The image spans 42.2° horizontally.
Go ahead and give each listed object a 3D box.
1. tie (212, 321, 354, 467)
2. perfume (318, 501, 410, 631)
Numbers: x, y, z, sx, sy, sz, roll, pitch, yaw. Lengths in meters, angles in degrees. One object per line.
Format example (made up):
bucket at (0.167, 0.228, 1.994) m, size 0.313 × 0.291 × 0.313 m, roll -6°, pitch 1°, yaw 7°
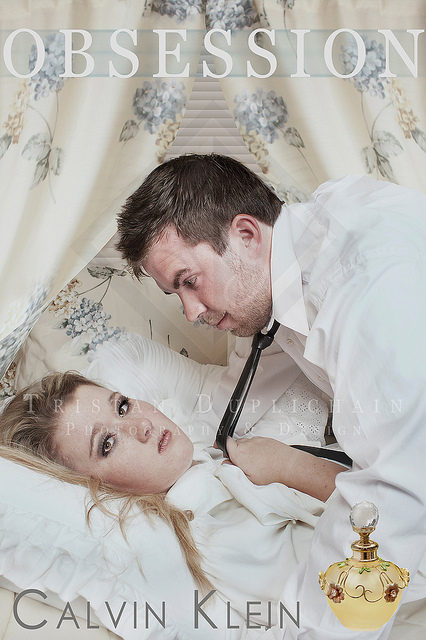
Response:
tie at (0.099, 0.162, 1.128) m, size 0.291 × 0.266 × 0.079 m, roll 8°, pitch -25°, yaw -23°
perfume at (0.215, 0.333, 0.734) m, size 0.136 × 0.192 × 0.068 m, roll 1°, pitch 20°, yaw -23°
